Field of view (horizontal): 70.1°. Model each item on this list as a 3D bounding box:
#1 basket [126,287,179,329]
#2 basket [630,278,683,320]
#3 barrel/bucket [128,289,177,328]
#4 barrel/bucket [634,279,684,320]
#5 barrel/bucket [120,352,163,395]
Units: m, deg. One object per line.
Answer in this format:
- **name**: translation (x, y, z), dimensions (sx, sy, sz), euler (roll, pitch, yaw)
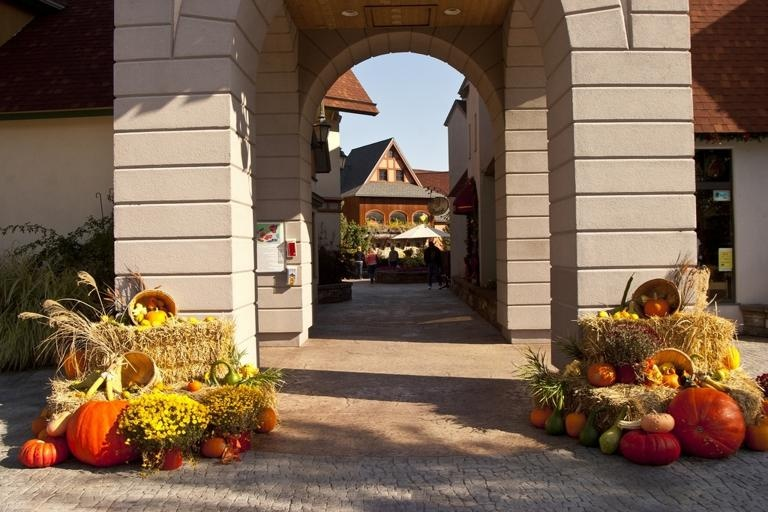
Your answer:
- **basket**: translation (-2.881, 0.631, 6.758), dimensions (0.458, 0.460, 0.191), euler (35, -33, -11)
- **basket**: translation (3.362, 0.523, 6.732), dimensions (0.491, 0.491, 0.300), euler (-9, -23, 32)
- **barrel/bucket**: translation (-2.831, 0.701, 6.795), dimensions (0.477, 0.201, 0.479), euler (19, 22, -8)
- **barrel/bucket**: translation (3.355, 0.512, 6.637), dimensions (0.438, 0.503, 0.208), euler (0, -3, 1)
- **barrel/bucket**: translation (-2.767, 1.292, 6.170), dimensions (0.437, 0.431, 0.330), euler (-15, 3, -5)
